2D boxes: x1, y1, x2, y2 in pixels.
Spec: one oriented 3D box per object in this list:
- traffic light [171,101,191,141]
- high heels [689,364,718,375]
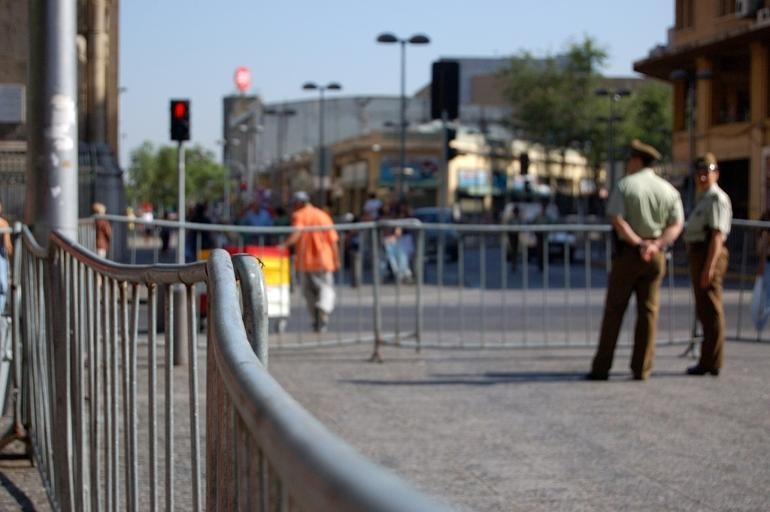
[{"bbox_3d":[-3.006,-1.961,20.469,0.281,0.551,0.532,-3,14,-9],"label":"traffic light"},{"bbox_3d":[3.716,1.321,16.271,0.335,0.150,0.126,5,4,15],"label":"high heels"}]
